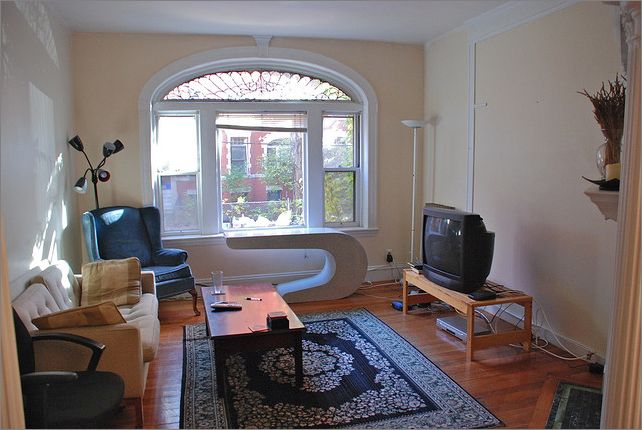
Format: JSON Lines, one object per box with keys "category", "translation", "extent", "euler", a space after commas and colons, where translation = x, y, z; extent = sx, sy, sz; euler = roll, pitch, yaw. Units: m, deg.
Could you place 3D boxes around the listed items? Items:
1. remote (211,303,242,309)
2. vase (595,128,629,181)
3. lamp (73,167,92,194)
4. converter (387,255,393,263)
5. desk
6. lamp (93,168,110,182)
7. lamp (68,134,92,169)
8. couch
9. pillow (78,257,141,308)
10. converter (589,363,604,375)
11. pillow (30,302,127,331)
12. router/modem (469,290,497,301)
{"category": "remote", "translation": [-0.918, 0.873, 4.567], "extent": [0.181, 0.048, 0.102], "euler": [3, 2, -6]}
{"category": "vase", "translation": [2.024, -0.432, 3.312], "extent": [0.145, 0.361, 0.329], "euler": [2, 8, 31]}
{"category": "lamp", "translation": [-2.853, -0.408, 5.641], "extent": [0.220, 0.116, 0.347], "euler": [-6, 42, -19]}
{"category": "converter", "translation": [1.004, 0.623, 6.824], "extent": [0.118, 0.125, 0.071], "euler": [-3, 7, -7]}
{"category": "desk", "translation": [1.666, 0.960, 4.880], "extent": [0.766, 0.607, 1.474], "euler": [-4, 9, -16]}
{"category": "lamp", "translation": [-2.597, -0.480, 5.619], "extent": [0.135, 0.169, 0.169], "euler": [9, 15, -22]}
{"category": "lamp", "translation": [-2.897, -0.766, 5.655], "extent": [0.199, 0.375, 0.441], "euler": [-5, 7, -21]}
{"category": "couch", "translation": [-1.942, 0.580, 3.997], "extent": [1.126, 0.898, 2.035], "euler": [-2, 8, -18]}
{"category": "pillow", "translation": [-2.102, 0.689, 4.727], "extent": [0.440, 0.361, 0.165], "euler": [-3, -19, -10]}
{"category": "converter", "translation": [2.511, 1.401, 4.321], "extent": [0.095, 0.088, 0.091], "euler": [0, 9, 1]}
{"category": "pillow", "translation": [-1.892, 0.800, 3.575], "extent": [0.334, 0.095, 0.323], "euler": [-3, 8, -3]}
{"category": "router/modem", "translation": [1.600, 0.786, 4.636], "extent": [0.262, 0.066, 0.193], "euler": [-8, 8, -41]}
